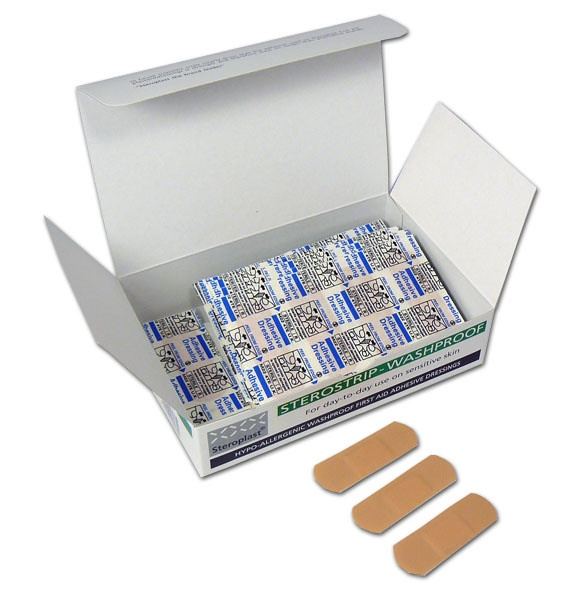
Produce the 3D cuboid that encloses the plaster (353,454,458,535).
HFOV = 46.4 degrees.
[{"bbox_3d":[0.494,0.846,2.896,0.661,0.206,0.007,-30,-35,-20],"label":"plaster"}]

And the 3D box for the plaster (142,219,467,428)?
[{"bbox_3d":[0.055,0.111,3.115,1.273,0.744,0.071,-16,-39,-11],"label":"plaster"}]

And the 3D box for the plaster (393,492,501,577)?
[{"bbox_3d":[0.655,0.980,2.782,0.508,0.213,0.090,-17,-21,-22],"label":"plaster"}]

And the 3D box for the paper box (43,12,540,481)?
[{"bbox_3d":[0.046,-0.235,2.937,2.341,1.134,1.373,-19,-35,-18],"label":"paper box"}]

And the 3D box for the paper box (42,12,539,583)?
[{"bbox_3d":[0.080,0.001,3.542,2.553,2.446,1.494,-22,-33,-15],"label":"paper box"}]
